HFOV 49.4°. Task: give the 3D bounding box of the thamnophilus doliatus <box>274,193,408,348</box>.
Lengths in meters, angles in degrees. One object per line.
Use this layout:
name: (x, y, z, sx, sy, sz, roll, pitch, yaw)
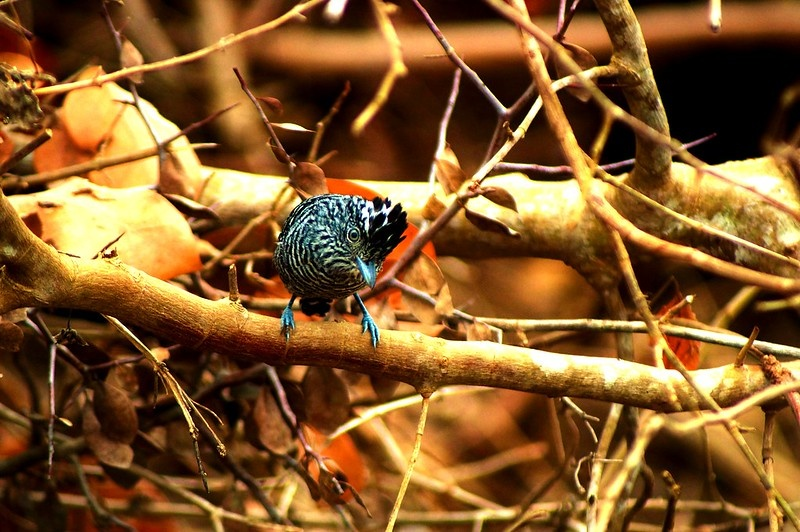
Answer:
thamnophilus doliatus: (-0.304, -0.032, 3.832, 0.489, 0.620, 0.913, 4, 8, -25)
